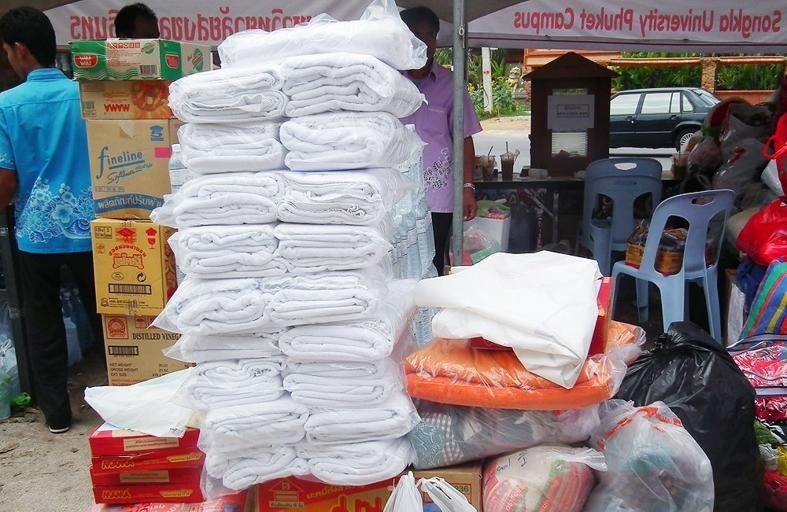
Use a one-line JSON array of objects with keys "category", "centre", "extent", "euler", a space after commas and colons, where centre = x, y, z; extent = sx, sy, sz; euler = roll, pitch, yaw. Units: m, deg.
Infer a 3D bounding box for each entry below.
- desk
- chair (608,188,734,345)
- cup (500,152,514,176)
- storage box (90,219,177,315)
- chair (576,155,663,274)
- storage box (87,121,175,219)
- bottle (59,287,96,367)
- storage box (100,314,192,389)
[{"category": "desk", "centre": [1.492, -0.600, 7.164], "extent": [1.482, 1.122, 1.175], "euler": [0, 4, 2]}, {"category": "chair", "centre": [2.187, 0.068, 5.217], "extent": [0.754, 1.247, 0.933], "euler": [-7, 11, -6]}, {"category": "cup", "centre": [1.206, -0.979, 6.930], "extent": [0.121, 0.265, 0.298], "euler": [2, 12, 7]}, {"category": "storage box", "centre": [-1.635, 0.036, 4.333], "extent": [0.435, 0.586, 0.582], "euler": [1, 9, 1]}, {"category": "chair", "centre": [2.162, -0.385, 6.139], "extent": [0.817, 1.103, 0.780], "euler": [-11, 15, -23]}, {"category": "storage box", "centre": [-1.570, -0.520, 4.278], "extent": [0.611, 0.600, 0.599], "euler": [1, 2, -2]}, {"category": "bottle", "centre": [-2.656, 0.583, 5.482], "extent": [0.157, 0.576, 0.419], "euler": [0, 11, 27]}, {"category": "storage box", "centre": [-1.582, 0.559, 4.308], "extent": [0.532, 0.476, 0.425], "euler": [-4, 2, 1]}]
